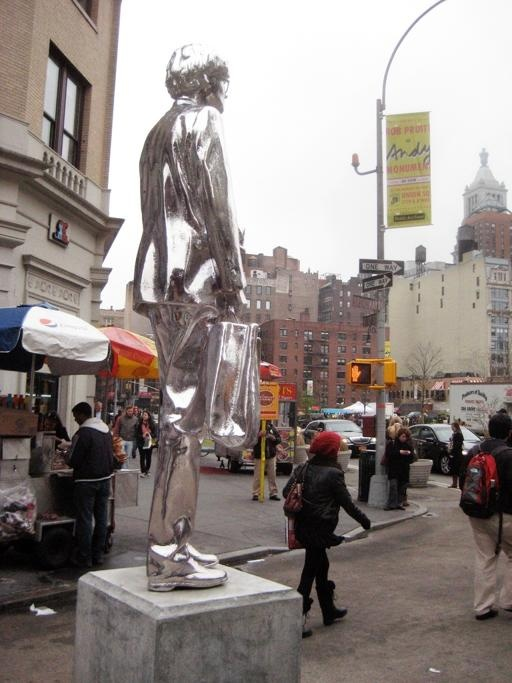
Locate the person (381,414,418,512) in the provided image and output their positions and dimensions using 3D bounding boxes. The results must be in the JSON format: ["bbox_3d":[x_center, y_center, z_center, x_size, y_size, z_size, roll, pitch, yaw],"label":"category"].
[{"bbox_3d":[2.829,2.418,14.049,0.565,1.759,0.938,1,-5,12],"label":"person"}]

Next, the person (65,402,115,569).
[{"bbox_3d":[-1.814,1.545,7.693,0.462,1.748,0.680,3,-5,-11],"label":"person"}]

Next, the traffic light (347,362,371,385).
[{"bbox_3d":[2.009,0.599,13.591,0.419,0.406,0.140,4,-12,-20],"label":"traffic light"}]

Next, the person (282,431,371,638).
[{"bbox_3d":[0.560,1.579,6.021,0.674,1.604,0.402,2,-5,1],"label":"person"}]

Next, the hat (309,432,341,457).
[{"bbox_3d":[0.625,0.904,6.276,0.246,0.248,0.189,11,-1,27],"label":"hat"}]

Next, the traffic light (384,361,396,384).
[{"bbox_3d":[2.583,0.587,13.564,0.208,0.491,0.313,2,-5,3],"label":"traffic light"}]

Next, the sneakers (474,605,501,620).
[{"bbox_3d":[1.972,2.310,6.044,0.242,0.104,0.082,-2,-2,-20],"label":"sneakers"}]

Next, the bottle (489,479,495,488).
[{"bbox_3d":[2.051,1.226,6.096,0.060,0.080,0.019,5,-6,-26],"label":"bottle"}]

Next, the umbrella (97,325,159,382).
[{"bbox_3d":[-1.954,0.215,11.415,1.234,0.470,1.242,10,-7,-1],"label":"umbrella"}]

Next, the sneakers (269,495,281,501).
[{"bbox_3d":[0.393,3.260,14.775,0.100,0.120,0.301,6,-18,-23],"label":"sneakers"}]

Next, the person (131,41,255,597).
[{"bbox_3d":[-0.293,-0.184,3.232,0.663,2.514,0.462,2,-5,5],"label":"person"}]
